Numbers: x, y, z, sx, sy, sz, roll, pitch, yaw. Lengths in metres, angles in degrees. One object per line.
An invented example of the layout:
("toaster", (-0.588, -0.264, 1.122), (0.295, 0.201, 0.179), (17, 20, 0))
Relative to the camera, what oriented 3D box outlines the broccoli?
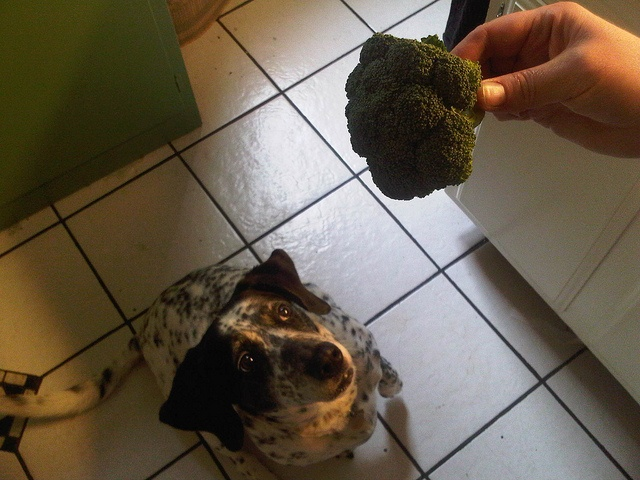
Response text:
("broccoli", (0.250, -0.326, 1.349), (0.350, 0.241, 0.371), (8, 77, 4))
